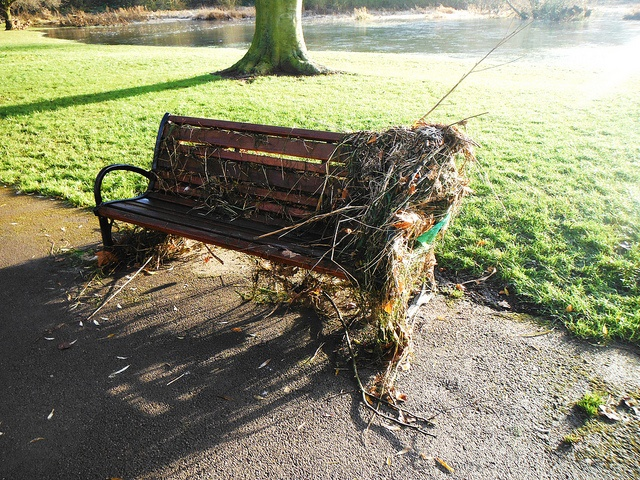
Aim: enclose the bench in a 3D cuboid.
[{"bbox_3d":[-0.761,-0.532,4.353,2.580,0.907,1.054,15,33,23],"label":"bench"}]
